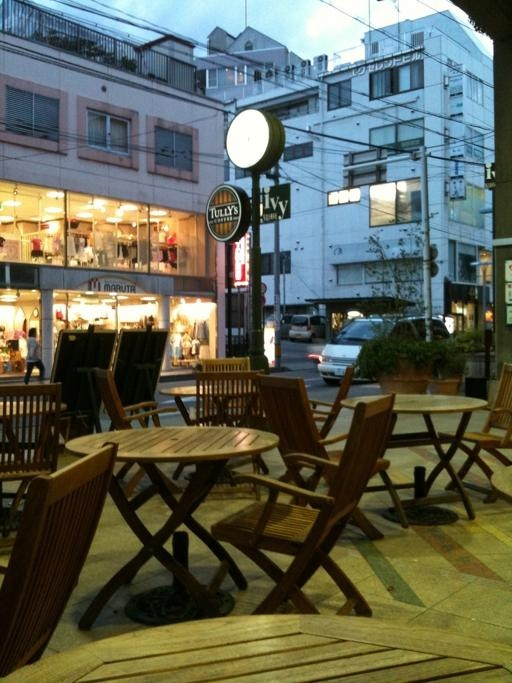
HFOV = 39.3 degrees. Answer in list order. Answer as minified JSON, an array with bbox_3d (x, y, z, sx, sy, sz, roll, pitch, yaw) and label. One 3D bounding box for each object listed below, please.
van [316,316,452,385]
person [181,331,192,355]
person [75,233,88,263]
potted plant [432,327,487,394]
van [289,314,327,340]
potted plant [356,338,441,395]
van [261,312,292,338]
[{"bbox_3d":[2.288,0.194,15.990,1.697,1.553,3.228,-3,-3,42],"label":"van"},{"bbox_3d":[-2.465,0.146,25.535,0.351,0.862,0.514,-2,4,-3],"label":"person"},{"bbox_3d":[-5.374,-2.789,22.219,0.307,0.899,0.501,-3,4,-11],"label":"person"},{"bbox_3d":[4.012,0.441,13.683,1.197,1.642,1.585,0,0,10],"label":"potted plant"},{"bbox_3d":[2.954,-0.758,42.757,1.230,1.117,2.176,3,9,29],"label":"van"},{"bbox_3d":[2.558,0.468,13.144,1.374,1.020,1.408,2,-6,-36],"label":"potted plant"},{"bbox_3d":[1.463,-1.049,43.832,1.126,1.055,1.855,3,25,12],"label":"van"}]
